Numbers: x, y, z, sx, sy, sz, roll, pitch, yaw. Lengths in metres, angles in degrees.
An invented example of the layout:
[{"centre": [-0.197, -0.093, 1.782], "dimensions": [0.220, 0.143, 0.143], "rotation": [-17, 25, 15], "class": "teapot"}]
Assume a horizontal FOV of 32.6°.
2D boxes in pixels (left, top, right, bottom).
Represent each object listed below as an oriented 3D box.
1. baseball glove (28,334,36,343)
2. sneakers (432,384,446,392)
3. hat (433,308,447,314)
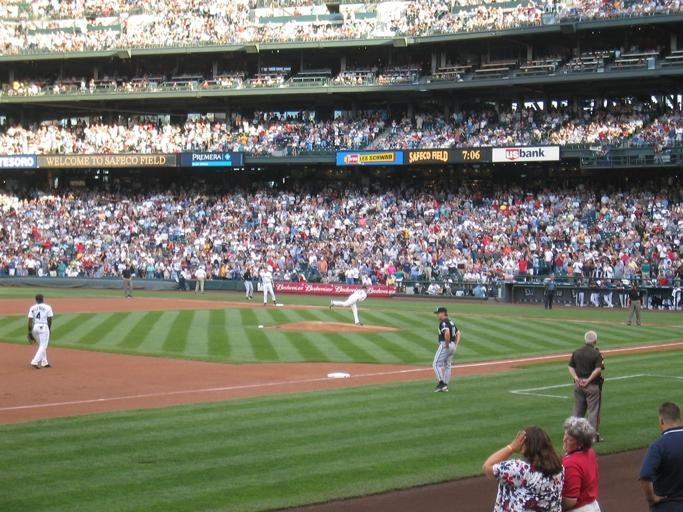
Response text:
[{"centre": [-12.870, 3.404, 48.732], "dimensions": [0.261, 0.123, 0.525], "rotation": [12, 10, -14], "class": "baseball glove"}, {"centre": [3.884, 5.121, 45.344], "dimensions": [0.505, 0.278, 0.222], "rotation": [0, -1, 10], "class": "sneakers"}, {"centre": [3.888, 2.106, 45.217], "dimensions": [0.428, 0.253, 0.320], "rotation": [0, 2, 15], "class": "hat"}]
